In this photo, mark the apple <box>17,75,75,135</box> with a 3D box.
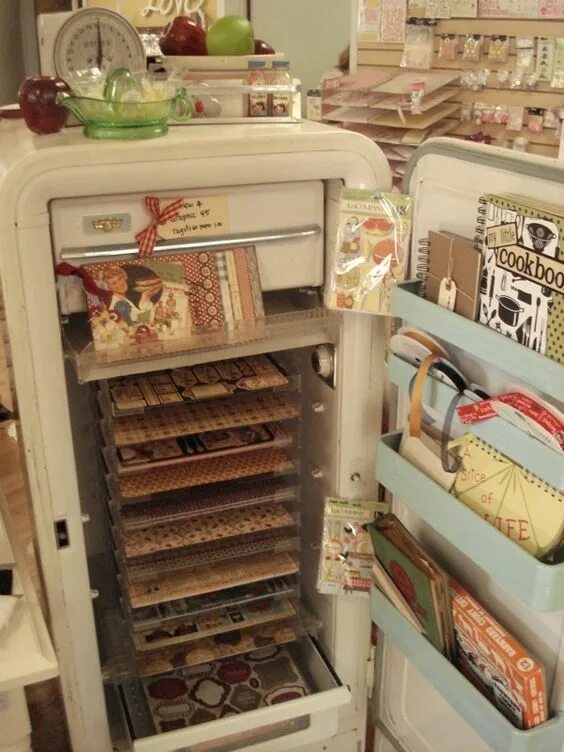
[{"bbox_3d":[-0.416,-0.471,1.028,0.088,0.089,0.087,19,30,17],"label":"apple"}]

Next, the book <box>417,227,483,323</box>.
[{"bbox_3d":[0.255,-0.145,0.888,0.021,0.116,0.135,-15,32,-13],"label":"book"}]

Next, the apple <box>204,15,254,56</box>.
[{"bbox_3d":[-0.110,-0.713,1.244,0.102,0.095,0.142,-4,21,-1],"label":"apple"}]

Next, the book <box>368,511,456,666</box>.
[{"bbox_3d":[0.247,0.357,1.024,0.044,0.160,0.161,-22,28,-10],"label":"book"}]
